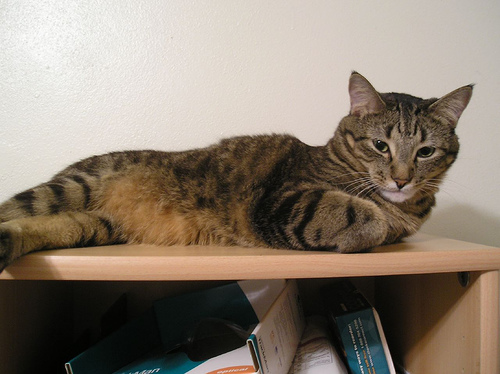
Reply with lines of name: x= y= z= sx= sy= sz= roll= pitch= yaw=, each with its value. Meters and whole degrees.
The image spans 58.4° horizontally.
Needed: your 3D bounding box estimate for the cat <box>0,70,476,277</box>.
cat: x=-0.045 y=0.004 z=1.295 sx=1.193 sy=0.497 sz=0.664 roll=2 pitch=2 yaw=22
